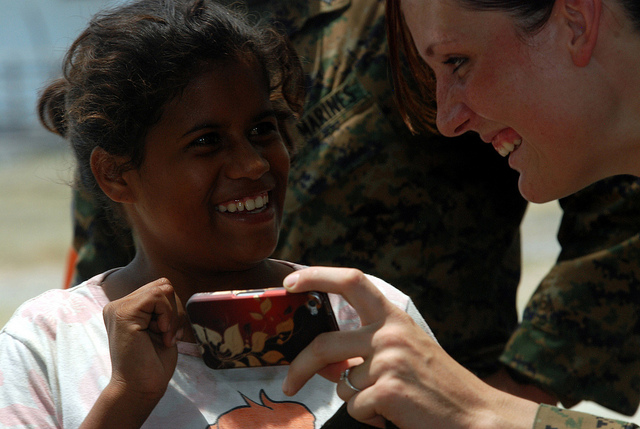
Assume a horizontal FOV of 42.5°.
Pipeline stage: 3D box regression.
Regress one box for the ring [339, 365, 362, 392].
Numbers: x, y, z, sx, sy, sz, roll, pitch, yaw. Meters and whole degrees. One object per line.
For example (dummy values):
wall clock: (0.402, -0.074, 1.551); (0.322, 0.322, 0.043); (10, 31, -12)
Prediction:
ring: (0.122, 0.633, 3.148); (0.080, 0.077, 0.032); (16, -3, 12)
